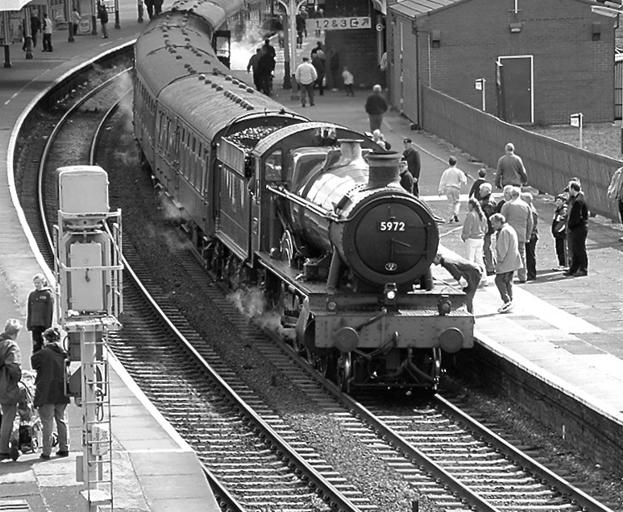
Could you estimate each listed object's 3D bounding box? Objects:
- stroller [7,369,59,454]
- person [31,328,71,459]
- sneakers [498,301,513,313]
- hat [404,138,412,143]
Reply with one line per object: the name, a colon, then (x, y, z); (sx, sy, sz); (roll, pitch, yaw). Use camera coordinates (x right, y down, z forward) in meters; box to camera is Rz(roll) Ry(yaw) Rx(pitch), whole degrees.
stroller: (-3.893, 2.253, 18.852); (0.408, 0.839, 1.290); (-1, 13, -10)
person: (-3.543, 1.873, 18.328); (0.501, 1.722, 0.400); (-6, 8, -19)
sneakers: (3.463, 0.903, 23.964); (0.309, 0.155, 0.118); (-27, -1, 28)
hat: (2.155, -2.622, 30.260); (0.223, 0.134, 0.390); (1, 3, 5)
